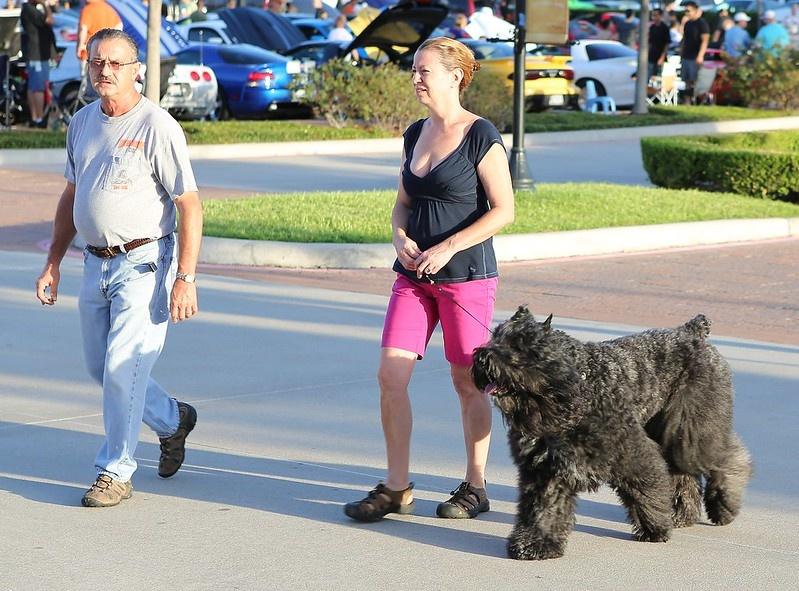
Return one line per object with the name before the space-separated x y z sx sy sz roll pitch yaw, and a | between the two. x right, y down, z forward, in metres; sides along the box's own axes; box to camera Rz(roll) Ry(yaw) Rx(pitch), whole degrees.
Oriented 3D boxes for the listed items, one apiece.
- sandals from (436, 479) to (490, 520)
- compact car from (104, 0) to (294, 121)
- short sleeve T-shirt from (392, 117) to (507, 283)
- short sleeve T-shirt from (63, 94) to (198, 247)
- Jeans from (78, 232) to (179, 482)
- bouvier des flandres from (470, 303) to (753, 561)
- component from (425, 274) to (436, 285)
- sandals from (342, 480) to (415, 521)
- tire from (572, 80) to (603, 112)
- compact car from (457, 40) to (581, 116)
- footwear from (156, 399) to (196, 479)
sandals | 0.360 1.146 7.859 0.359 0.148 0.141 2 -3 -43
compact car | -4.247 -4.235 25.743 5.089 1.416 2.048 10 11 18
short sleeve T-shirt | 0.246 -0.540 7.742 0.648 0.890 0.458 9 18 19
short sleeve T-shirt | -1.597 -0.695 7.940 0.788 0.818 0.366 12 19 27
Jeans | -1.557 0.344 7.948 0.539 1.311 0.628 0 17 -12
bouvier des flandres | 1.131 0.753 7.608 2.055 1.210 0.727 -2 -1 -45
component | 0.159 -0.090 7.676 0.032 0.063 0.040 -27 -25 22
sandals | -0.116 1.132 7.824 0.485 0.188 0.164 -5 9 -17
tire | 4.051 -4.282 30.023 0.237 0.695 0.803 10 -2 -45
compact car | 2.545 -4.307 27.525 2.086 0.957 3.671 -11 22 -34
footwear | -1.321 0.838 8.267 0.248 0.465 0.180 7 6 -43
